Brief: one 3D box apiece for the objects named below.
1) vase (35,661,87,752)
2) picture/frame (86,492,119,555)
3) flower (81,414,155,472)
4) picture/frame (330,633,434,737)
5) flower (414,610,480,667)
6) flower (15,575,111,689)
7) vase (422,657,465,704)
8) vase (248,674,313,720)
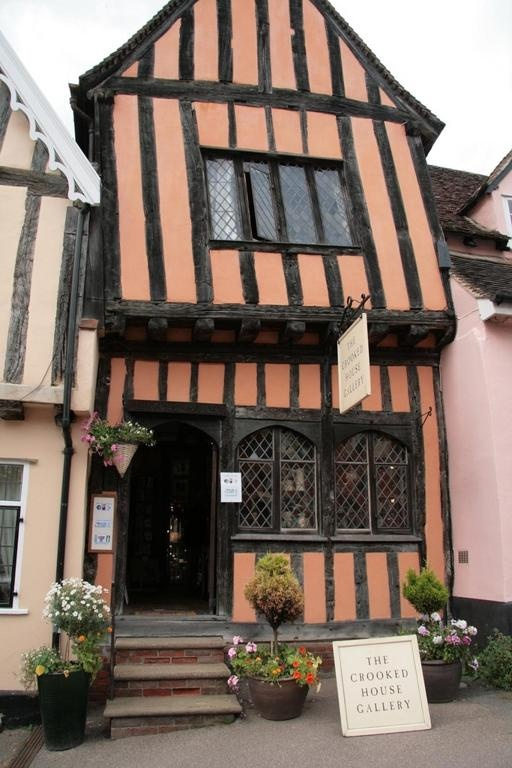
[{"bbox_3d":[-1.433,2.440,4.482,0.435,0.526,0.355,5,-19,-39],"label":"vase"},{"bbox_3d":[-1.630,1.467,6.207,0.278,0.603,0.193,0,-6,-16],"label":"picture/frame"},{"bbox_3d":[-1.431,0.603,6.048,0.626,0.628,0.625,3,-9,-17],"label":"flower"},{"bbox_3d":[1.007,2.383,4.620,0.913,0.936,0.066,1,-31,-14],"label":"picture/frame"},{"bbox_3d":[1.724,2.336,5.395,0.650,0.489,0.699,-3,-19,12],"label":"flower"},{"bbox_3d":[-1.526,1.995,4.770,0.610,0.682,0.878,-1,-5,-7],"label":"flower"},{"bbox_3d":[1.661,2.649,5.242,0.372,0.347,0.379,-15,-32,26],"label":"vase"},{"bbox_3d":[0.195,2.558,4.803,0.405,0.298,0.428,-14,-25,28],"label":"vase"}]
